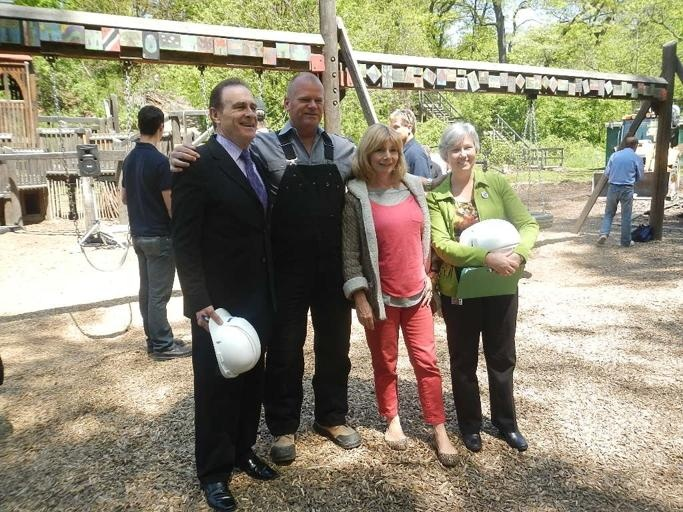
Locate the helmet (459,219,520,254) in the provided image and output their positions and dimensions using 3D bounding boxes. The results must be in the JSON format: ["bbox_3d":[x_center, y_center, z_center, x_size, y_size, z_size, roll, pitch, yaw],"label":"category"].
[{"bbox_3d":[1.081,-0.110,3.970,0.336,0.237,0.273,13,-9,0],"label":"helmet"}]

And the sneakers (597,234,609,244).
[{"bbox_3d":[5.467,-0.346,11.337,0.136,0.132,0.319,6,7,10],"label":"sneakers"}]

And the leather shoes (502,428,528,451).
[{"bbox_3d":[1.326,1.386,4.204,0.098,0.101,0.239,-21,23,-27],"label":"leather shoes"}]

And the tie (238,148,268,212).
[{"bbox_3d":[-0.591,-0.526,3.707,0.165,0.387,0.295,0,14,3],"label":"tie"}]

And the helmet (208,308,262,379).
[{"bbox_3d":[-0.669,0.548,3.493,0.320,0.242,0.436,5,43,-47],"label":"helmet"}]

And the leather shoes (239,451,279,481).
[{"bbox_3d":[-0.588,1.491,3.821,0.361,0.144,0.128,9,14,35],"label":"leather shoes"}]

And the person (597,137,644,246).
[{"bbox_3d":[5.901,-1.360,11.402,0.695,2.187,1.172,6,15,26],"label":"person"}]

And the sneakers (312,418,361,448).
[{"bbox_3d":[-0.032,1.358,4.203,0.354,0.140,0.153,8,10,37],"label":"sneakers"}]
